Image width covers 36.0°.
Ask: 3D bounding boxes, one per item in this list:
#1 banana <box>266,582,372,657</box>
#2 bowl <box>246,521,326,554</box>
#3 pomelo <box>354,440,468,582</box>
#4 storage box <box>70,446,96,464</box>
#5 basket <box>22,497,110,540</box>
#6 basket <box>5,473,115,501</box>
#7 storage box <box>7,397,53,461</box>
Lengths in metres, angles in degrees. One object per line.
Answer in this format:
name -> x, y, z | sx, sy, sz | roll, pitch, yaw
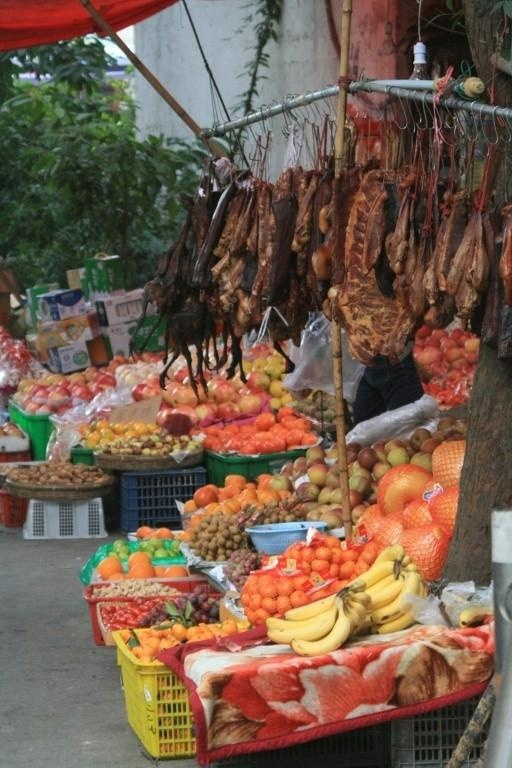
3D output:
banana -> 0.182, 0.692, 2.257 | 0.269, 0.161, 0.195 | -7, 9, -2
bowl -> 0.130, 0.702, 3.661 | 0.290, 0.104, 0.294 | -3, -3, 0
pomelo -> 0.616, 0.465, 2.955 | 0.394, 0.486, 0.357 | -8, 15, -24
storage box -> -1.403, 0.579, 6.377 | 0.147, 0.121, 0.181 | 1, -5, -5
basket -> -1.506, 1.060, 6.222 | 0.636, 0.332, 0.179 | -2, 3, -7
basket -> -1.535, 0.825, 6.090 | 0.847, 0.184, 0.207 | -1, 3, 6
storage box -> -2.140, 0.393, 7.439 | 0.394, 0.275, 0.703 | 1, 15, -28
